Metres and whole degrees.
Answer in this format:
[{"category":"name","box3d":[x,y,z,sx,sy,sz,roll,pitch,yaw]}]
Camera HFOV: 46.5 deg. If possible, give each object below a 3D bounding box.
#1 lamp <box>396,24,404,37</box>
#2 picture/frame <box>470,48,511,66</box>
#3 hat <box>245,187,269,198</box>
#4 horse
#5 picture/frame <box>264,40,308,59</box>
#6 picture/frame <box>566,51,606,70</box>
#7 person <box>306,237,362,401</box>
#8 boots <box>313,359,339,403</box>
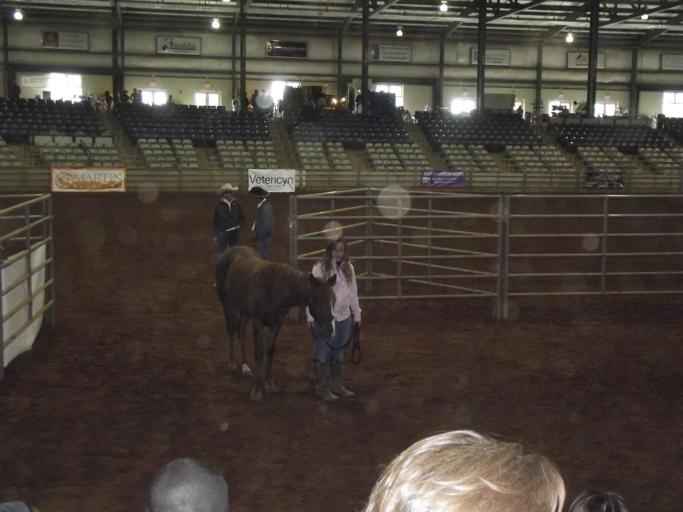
[{"category":"lamp","box3d":[2.713,-10.640,37.681,0.390,0.643,0.225,4,40,8]},{"category":"picture/frame","box3d":[7.930,-10.522,41.990,2.209,1.026,0.412,-6,14,-16]},{"category":"hat","box3d":[-1.454,-1.104,13.825,0.222,0.082,0.218,13,31,-29]},{"category":"horse","box3d":[-1.010,0.783,9.859,0.566,1.715,2.386,-9,18,-42]},{"category":"picture/frame","box3d":[-2.729,-10.231,39.274,2.075,0.886,0.392,-3,14,-3]},{"category":"picture/frame","box3d":[13.091,-10.526,42.687,1.985,0.991,0.511,2,14,11]},{"category":"person","box3d":[-0.102,0.752,9.304,0.543,1.859,0.867,5,15,27]},{"category":"boots","box3d":[-0.198,1.376,9.464,0.275,0.449,0.754,-3,16,-6]}]
